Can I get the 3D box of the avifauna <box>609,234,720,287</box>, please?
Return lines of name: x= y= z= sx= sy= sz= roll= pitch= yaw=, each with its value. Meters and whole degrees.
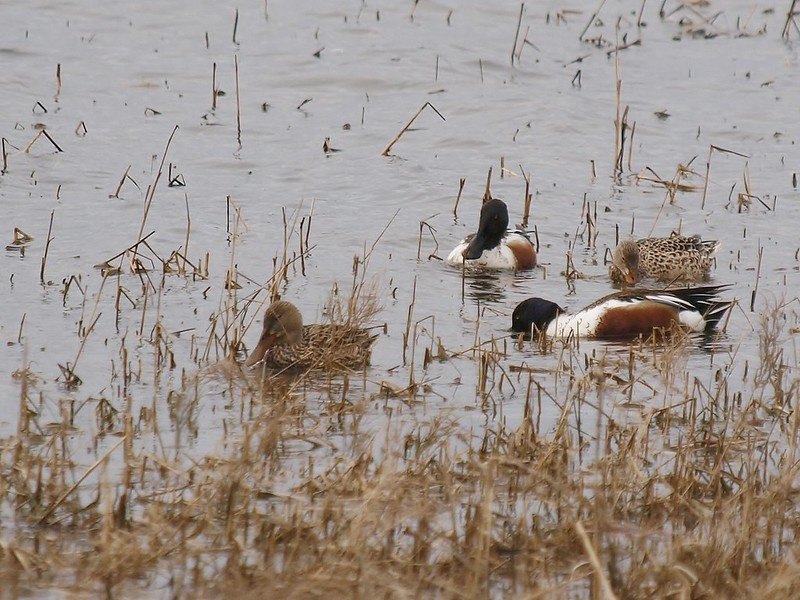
avifauna: x=3.081 y=-0.475 z=11.342 sx=1.243 sy=0.671 sz=0.629 roll=-8 pitch=25 yaw=-6
